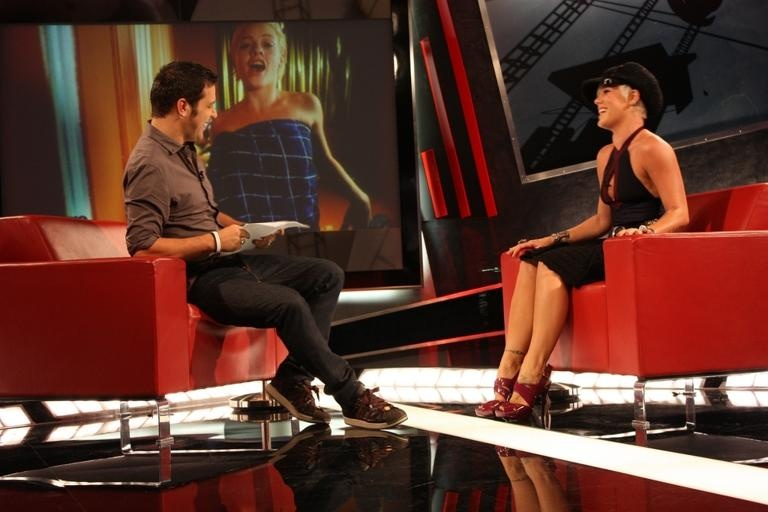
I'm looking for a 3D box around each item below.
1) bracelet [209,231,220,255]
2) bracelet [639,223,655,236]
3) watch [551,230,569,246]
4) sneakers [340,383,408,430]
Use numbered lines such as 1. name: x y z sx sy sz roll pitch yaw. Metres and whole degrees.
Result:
1. bracelet: -0.752 -0.047 2.840 0.051 0.075 0.076 -1 -44 -8
2. bracelet: 1.213 -0.117 2.997 0.070 0.035 0.085 1 7 -3
3. watch: 0.910 -0.086 3.395 0.109 0.041 0.064 -5 11 -37
4. sneakers: -0.067 0.657 2.999 0.373 0.172 0.130 0 1 11
